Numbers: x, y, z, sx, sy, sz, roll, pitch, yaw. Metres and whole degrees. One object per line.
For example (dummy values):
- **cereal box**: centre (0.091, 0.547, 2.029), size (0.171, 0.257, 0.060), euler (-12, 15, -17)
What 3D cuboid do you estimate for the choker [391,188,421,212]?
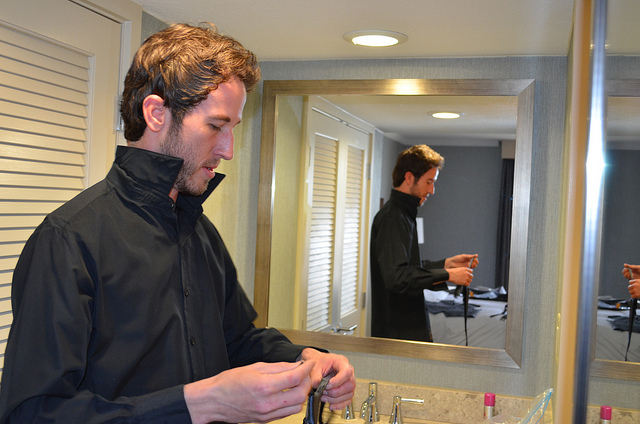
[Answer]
- **choker**: centre (0.389, -0.059, 2.255), size (0.110, 0.067, 0.084), euler (26, 21, 14)

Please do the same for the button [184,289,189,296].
- **button**: centre (-0.367, 0.222, 1.364), size (0.003, 0.018, 0.015), euler (1, -3, 26)

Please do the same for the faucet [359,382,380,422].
- **faucet**: centre (0.216, 0.776, 2.047), size (0.061, 0.152, 0.203), euler (1, -3, 18)

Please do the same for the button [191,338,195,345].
- **button**: centre (-0.346, 0.352, 1.349), size (0.002, 0.017, 0.010), euler (-1, -4, 43)

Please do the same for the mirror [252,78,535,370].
- **mirror**: centre (0.373, 0.054, 2.157), size (1.354, 1.270, 0.099), euler (3, -1, 10)

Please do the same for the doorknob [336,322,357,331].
- **doorknob**: centre (0.117, 0.519, 2.245), size (0.071, 0.034, 0.039), euler (-1, -5, 12)
